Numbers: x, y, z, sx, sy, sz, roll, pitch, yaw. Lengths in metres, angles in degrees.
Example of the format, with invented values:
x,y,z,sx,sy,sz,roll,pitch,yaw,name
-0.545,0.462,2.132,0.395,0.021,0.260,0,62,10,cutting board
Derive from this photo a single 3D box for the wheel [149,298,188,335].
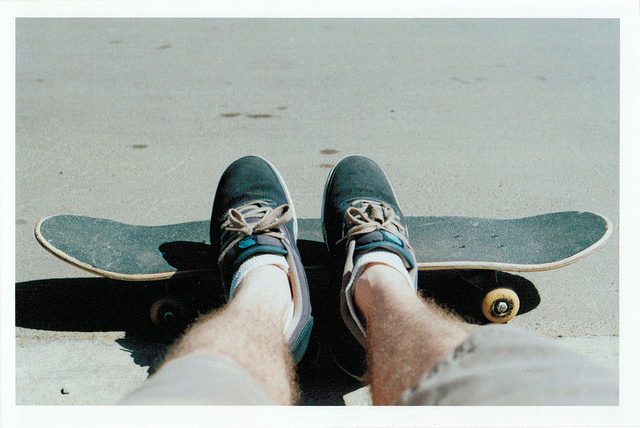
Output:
x,y,z,sx,sy,sz,roll,pitch,yaw,name
-0.800,0.540,3.489,0.192,0.088,0.180,1,72,-2,wheel

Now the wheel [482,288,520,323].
x,y,z,sx,sy,sz,roll,pitch,yaw,name
0.952,0.484,3.510,0.199,0.091,0.184,0,101,0,wheel
